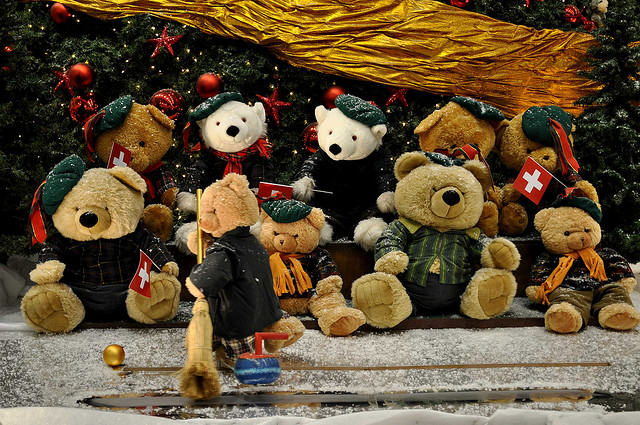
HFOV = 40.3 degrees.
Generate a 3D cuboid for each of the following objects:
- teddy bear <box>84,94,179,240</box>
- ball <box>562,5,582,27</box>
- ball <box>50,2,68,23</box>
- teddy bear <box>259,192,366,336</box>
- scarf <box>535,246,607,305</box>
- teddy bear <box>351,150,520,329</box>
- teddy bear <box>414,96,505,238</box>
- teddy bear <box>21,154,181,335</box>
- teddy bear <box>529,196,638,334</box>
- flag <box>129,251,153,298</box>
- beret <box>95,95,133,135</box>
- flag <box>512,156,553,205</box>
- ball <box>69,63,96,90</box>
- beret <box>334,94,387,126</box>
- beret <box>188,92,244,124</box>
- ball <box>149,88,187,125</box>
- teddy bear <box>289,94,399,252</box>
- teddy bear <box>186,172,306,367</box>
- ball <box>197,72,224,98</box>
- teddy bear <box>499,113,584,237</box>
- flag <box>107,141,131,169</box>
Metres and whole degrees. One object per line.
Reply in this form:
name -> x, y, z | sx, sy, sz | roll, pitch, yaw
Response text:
teddy bear -> -1.570, -0.362, 7.157 | 0.918, 1.159, 0.818 | -2, 14, -19
ball -> 2.309, -1.830, 8.051 | 0.151, 0.186, 0.099 | 3, 28, 15
ball -> -2.296, -1.779, 7.743 | 0.157, 0.170, 0.081 | 12, 21, 20
teddy bear -> -0.094, 0.332, 6.706 | 0.853, 1.112, 0.986 | -11, 8, -25
scarf -> 1.915, 0.481, 6.655 | 0.355, 0.182, 0.335 | -19, 47, 10
teddy bear -> 0.885, 0.222, 6.576 | 1.197, 1.205, 0.717 | 6, 20, 3
teddy bear -> 1.166, -0.420, 7.304 | 0.893, 1.121, 0.694 | 1, 0, -20
teddy bear -> -1.621, 0.234, 6.520 | 1.115, 1.188, 0.974 | -3, 12, -9
teddy bear -> 2.017, 0.369, 6.612 | 0.759, 0.864, 0.798 | 5, 20, 0
flag -> -1.292, 0.454, 6.389 | 0.030, 0.288, 0.252 | 1, -27, 22
beret -> -1.615, -0.777, 6.991 | 0.312, 0.293, 0.141 | -9, 24, -35
flag -> 1.638, -0.251, 6.748 | 0.350, 0.334, 0.084 | 37, 10, -5
ball -> -2.034, -1.189, 7.563 | 0.210, 0.215, 0.142 | -1, 21, -16
beret -> 0.330, -0.844, 7.167 | 0.418, 0.204, 0.219 | 6, 20, 2
beret -> -0.868, -0.881, 7.125 | 0.314, 0.101, 0.295 | -24, 17, 16
ball -> -1.261, -0.918, 7.631 | 0.315, 0.324, 0.411 | -1, 26, 3
teddy bear -> 0.195, -0.342, 7.147 | 0.996, 1.204, 0.954 | -8, 21, -22
teddy bear -> -0.593, 0.363, 6.063 | 0.920, 1.254, 0.979 | -3, 7, -42
ball -> -0.958, -1.127, 7.670 | 0.231, 0.219, 0.216 | -9, 9, 2
teddy bear -> 1.752, -0.311, 7.357 | 0.624, 0.999, 0.725 | 0, -1, 2
flag -> -1.545, -0.457, 6.825 | 0.031, 0.241, 0.187 | -3, -21, 44
